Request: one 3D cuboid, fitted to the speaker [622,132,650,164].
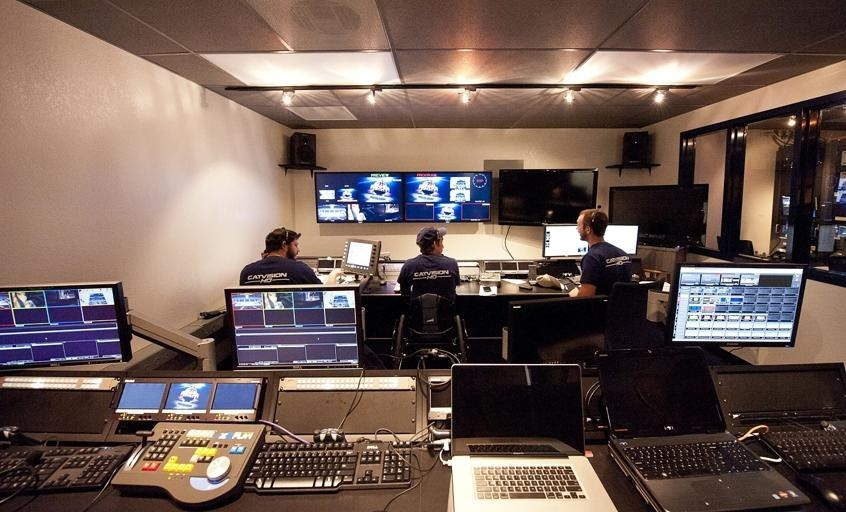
[{"bbox_3d":[2.634,-1.315,7.194,0.288,0.380,0.123,2,7,13],"label":"speaker"}]

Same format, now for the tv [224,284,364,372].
[{"bbox_3d":[-0.863,0.482,3.971,0.722,0.393,0.065,-1,7,-3],"label":"tv"}]

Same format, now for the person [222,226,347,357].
[{"bbox_3d":[-1.208,0.090,5.422,1.089,0.644,0.579,-3,2,39],"label":"person"}]

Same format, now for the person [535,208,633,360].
[{"bbox_3d":[1.523,0.337,5.455,0.874,1.310,0.714,0,9,45],"label":"person"}]

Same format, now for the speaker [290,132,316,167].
[{"bbox_3d":[-1.512,-1.337,7.404,0.323,0.418,0.218,0,7,-3],"label":"speaker"}]
